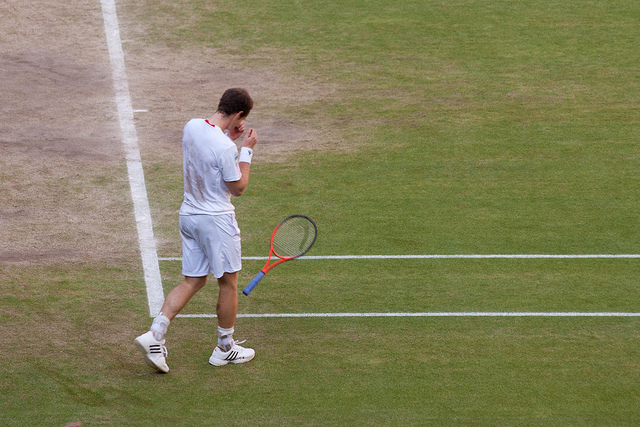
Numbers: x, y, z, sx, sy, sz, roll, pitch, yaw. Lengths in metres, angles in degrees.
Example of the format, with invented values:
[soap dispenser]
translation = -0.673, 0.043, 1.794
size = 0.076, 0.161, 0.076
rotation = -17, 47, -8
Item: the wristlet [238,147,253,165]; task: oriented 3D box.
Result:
[wristlet]
translation = -1.041, -0.848, 18.856
size = 0.194, 0.227, 0.218
rotation = -1, 15, -4
